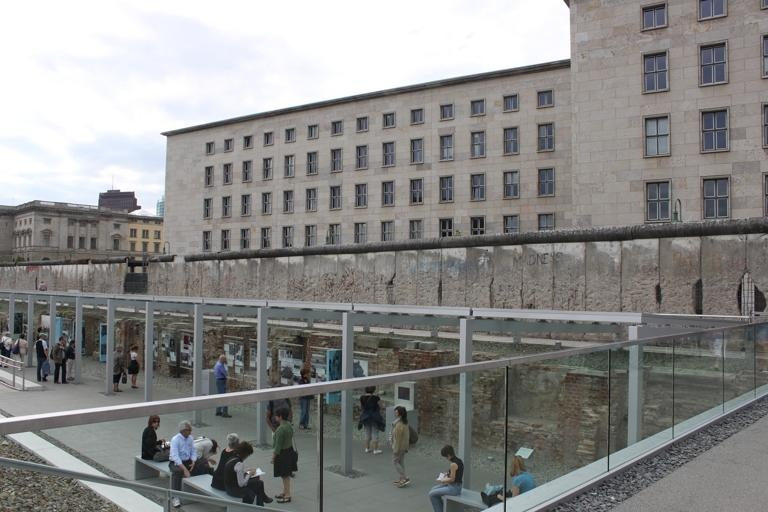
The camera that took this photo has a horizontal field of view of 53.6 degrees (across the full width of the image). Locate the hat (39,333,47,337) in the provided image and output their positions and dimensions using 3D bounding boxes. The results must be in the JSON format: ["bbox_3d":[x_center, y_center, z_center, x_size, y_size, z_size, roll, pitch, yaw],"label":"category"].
[{"bbox_3d":[-13.995,3.269,31.210,0.273,0.240,0.208,-6,5,-21],"label":"hat"}]

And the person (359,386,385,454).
[{"bbox_3d":[-0.195,2.958,13.667,0.445,1.088,0.665,-6,4,-9],"label":"person"}]

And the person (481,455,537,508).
[{"bbox_3d":[2.386,4.263,14.269,1.120,1.043,0.625,0,-7,0],"label":"person"}]

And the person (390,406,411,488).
[{"bbox_3d":[0.312,3.431,13.673,0.354,1.361,0.465,-5,4,-1],"label":"person"}]

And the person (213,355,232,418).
[{"bbox_3d":[-5.555,4.501,26.494,0.698,2.077,0.623,2,-12,-26],"label":"person"}]

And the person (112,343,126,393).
[{"bbox_3d":[-10.185,4.381,29.181,0.511,1.339,0.856,-7,4,-20],"label":"person"}]

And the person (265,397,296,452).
[{"bbox_3d":[-1.867,2.804,13.039,0.706,0.741,0.421,1,9,-11],"label":"person"}]
